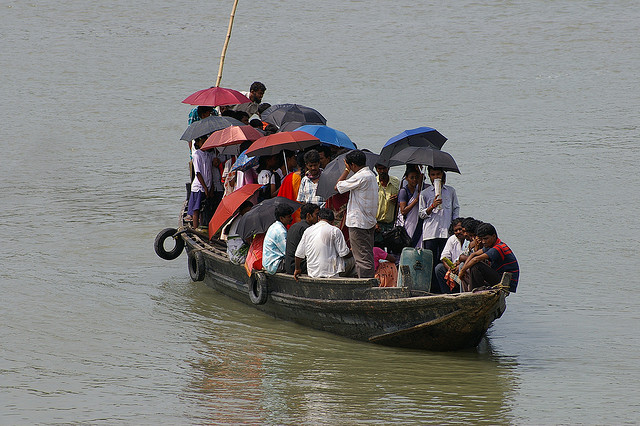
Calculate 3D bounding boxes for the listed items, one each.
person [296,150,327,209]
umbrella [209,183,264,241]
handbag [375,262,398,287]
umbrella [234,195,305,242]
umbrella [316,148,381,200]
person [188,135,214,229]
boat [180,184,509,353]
[{"bbox_3d":[0.042,-0.891,35.014,0.784,1.287,0.936,3,-2,-22],"label":"person"},{"bbox_3d":[-2.219,-0.087,36.031,1.198,1.348,0.943,3,-2,-23],"label":"umbrella"},{"bbox_3d":[1.565,1.510,34.619,0.350,0.523,0.639,-12,-4,27],"label":"handbag"},{"bbox_3d":[-1.568,0.083,35.228,1.797,0.990,0.618,3,-6,-10],"label":"umbrella"},{"bbox_3d":[0.651,-0.939,34.669,0.693,1.110,2.313,10,-10,-39],"label":"umbrella"},{"bbox_3d":[-3.142,-0.880,37.697,0.913,2.534,1.009,2,11,16],"label":"person"},{"bbox_3d":[-0.110,1.594,35.671,8.607,1.700,3.014,13,16,34],"label":"boat"}]
